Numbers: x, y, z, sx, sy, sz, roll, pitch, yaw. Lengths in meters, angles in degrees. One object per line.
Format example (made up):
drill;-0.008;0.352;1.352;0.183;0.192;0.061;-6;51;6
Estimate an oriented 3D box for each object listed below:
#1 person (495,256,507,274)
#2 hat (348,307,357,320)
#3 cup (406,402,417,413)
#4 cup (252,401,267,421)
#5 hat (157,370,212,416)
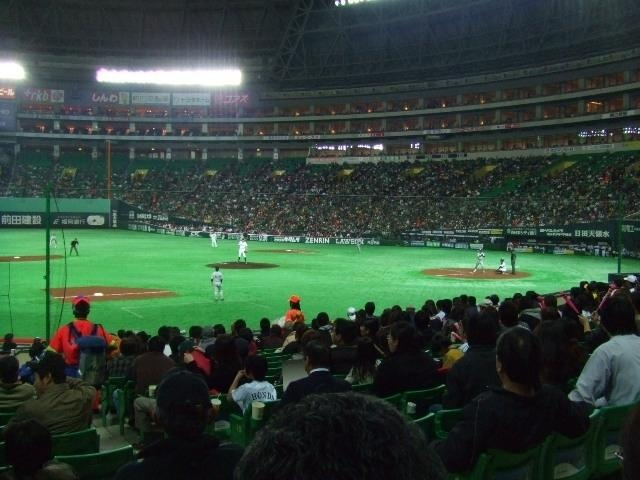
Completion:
person;11.251;1.629;39.592;0.869;1.424;0.914;2;2;13
hat;1.005;2.150;18.206;0.302;0.407;0.400;-1;-3;-9
cup;1.268;2.365;8.928;0.143;0.155;0.146;0;1;0
cup;-0.826;2.322;8.571;0.230;0.184;0.236;2;2;0
hat;-1.443;1.536;6.626;0.601;0.439;0.877;1;-2;-17
